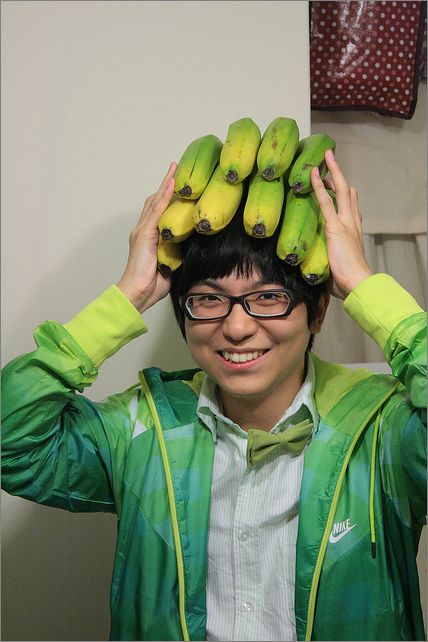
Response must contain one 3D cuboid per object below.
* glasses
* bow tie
[{"bbox_3d":[0.038,-0.030,1.123,0.233,0.065,0.055,1,23,14],"label":"glasses"},{"bbox_3d":[0.139,0.253,1.170,0.152,0.081,0.025,-6,17,-25],"label":"bow tie"}]
